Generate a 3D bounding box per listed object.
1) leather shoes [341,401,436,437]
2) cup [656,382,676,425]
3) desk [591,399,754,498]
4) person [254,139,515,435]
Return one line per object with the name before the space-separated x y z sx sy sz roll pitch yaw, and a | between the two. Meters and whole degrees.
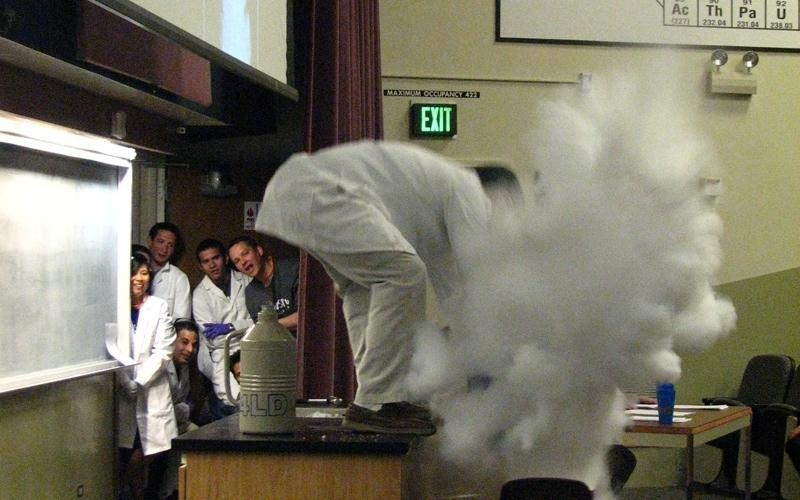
leather shoes | -0.033 0.893 5.186 0.472 0.215 0.163 4 -9 -8
cup | 1.749 0.991 6.291 0.207 0.262 0.105 2 -2 -43
desk | 2.048 1.492 6.732 0.726 0.791 1.580 0 -2 22
person | -0.150 0.128 5.781 1.355 1.585 0.500 0 -1 4
